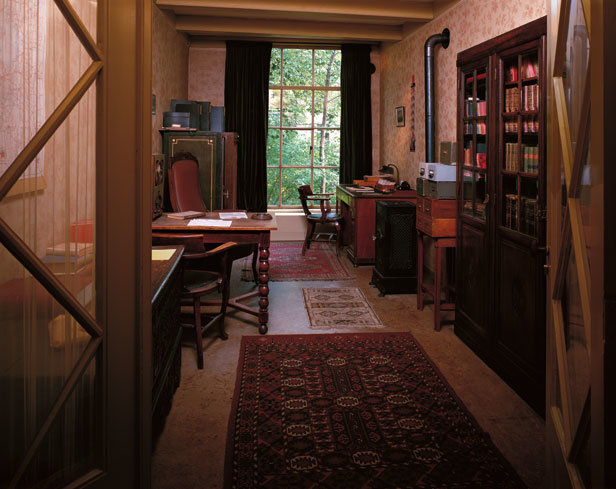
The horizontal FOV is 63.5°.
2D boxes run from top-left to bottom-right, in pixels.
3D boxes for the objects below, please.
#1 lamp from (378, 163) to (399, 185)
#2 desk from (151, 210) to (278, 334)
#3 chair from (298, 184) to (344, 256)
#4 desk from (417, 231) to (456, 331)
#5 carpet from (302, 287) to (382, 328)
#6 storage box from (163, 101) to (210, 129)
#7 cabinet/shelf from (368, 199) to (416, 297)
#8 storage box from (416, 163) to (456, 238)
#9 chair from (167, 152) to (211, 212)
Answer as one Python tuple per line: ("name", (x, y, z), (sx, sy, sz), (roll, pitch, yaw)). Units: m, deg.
("lamp", (1.227, -1.095, 7.636), (0.420, 0.390, 0.273), (-9, 12, -33))
("desk", (-0.776, 0.089, 4.576), (0.873, 0.944, 1.207), (1, 10, 2))
("chair", (0.200, -0.493, 7.950), (0.844, 1.433, 1.004), (-1, 8, 6))
("desk", (1.252, 0.368, 4.825), (0.282, 0.730, 0.733), (-1, 8, -2))
("carpet", (0.306, 0.614, 5.017), (0.670, 0.071, 1.335), (-2, 13, -4))
("storage box", (-1.524, -1.696, 6.451), (0.345, 0.158, 0.487), (9, 12, 36))
("cabinet/shelf", (0.970, 0.017, 5.582), (0.477, 0.982, 0.561), (0, 10, 6))
("storage box", (1.153, -0.390, 4.449), (0.248, 0.604, 0.608), (0, 7, 1))
("chair", (-1.280, -0.649, 5.257), (0.298, 0.613, 0.679), (1, 11, 10))
